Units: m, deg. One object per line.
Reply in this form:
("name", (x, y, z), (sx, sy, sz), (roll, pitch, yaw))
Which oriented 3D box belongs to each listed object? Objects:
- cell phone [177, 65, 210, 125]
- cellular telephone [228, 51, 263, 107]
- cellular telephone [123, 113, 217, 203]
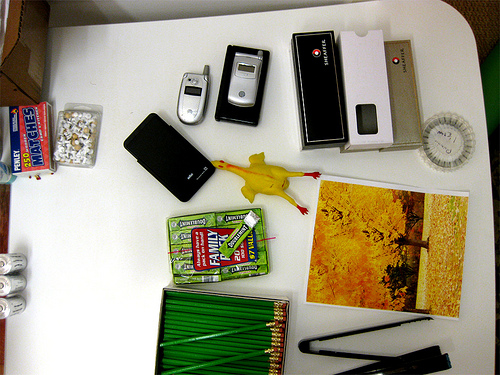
("cell phone", (-0.175, -0.278, 1.341), (0.074, 0.044, 0.172), (8, 83, 5))
("cellular telephone", (-0.016, -0.316, 1.331), (0.079, 0.047, 0.164), (6, 91, 2))
("cellular telephone", (-0.246, -0.092, 1.340), (0.275, 0.027, 0.147), (40, 85, 3))
